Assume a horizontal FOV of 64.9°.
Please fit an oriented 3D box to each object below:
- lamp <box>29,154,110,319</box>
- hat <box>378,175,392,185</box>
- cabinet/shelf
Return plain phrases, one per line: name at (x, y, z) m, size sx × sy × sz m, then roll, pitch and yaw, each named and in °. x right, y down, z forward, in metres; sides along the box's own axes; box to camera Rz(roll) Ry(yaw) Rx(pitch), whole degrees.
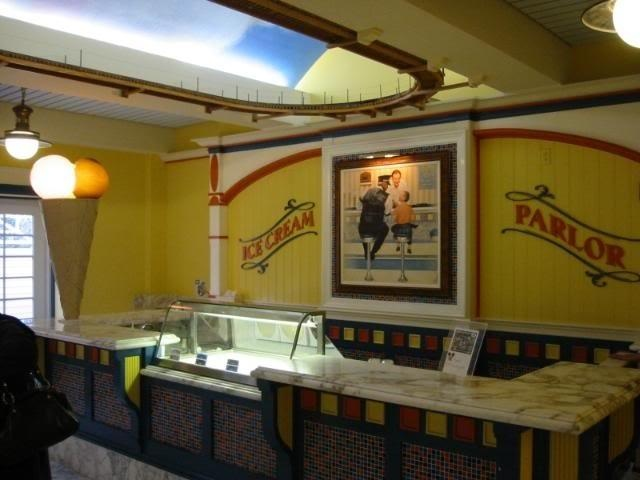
lamp at (-2.594, -0.019, 5.254) m, size 0.543 × 1.850 × 0.613 m, roll -1°, pitch 0°, yaw 22°
hat at (0.880, -0.813, 6.759) m, size 0.129 × 0.086 × 0.106 m, roll -1°, pitch -2°, yaw 36°
cabinet/shelf at (-0.734, 0.884, 4.270) m, size 1.598 × 0.717 × 0.485 m, roll -1°, pitch 0°, yaw 36°
